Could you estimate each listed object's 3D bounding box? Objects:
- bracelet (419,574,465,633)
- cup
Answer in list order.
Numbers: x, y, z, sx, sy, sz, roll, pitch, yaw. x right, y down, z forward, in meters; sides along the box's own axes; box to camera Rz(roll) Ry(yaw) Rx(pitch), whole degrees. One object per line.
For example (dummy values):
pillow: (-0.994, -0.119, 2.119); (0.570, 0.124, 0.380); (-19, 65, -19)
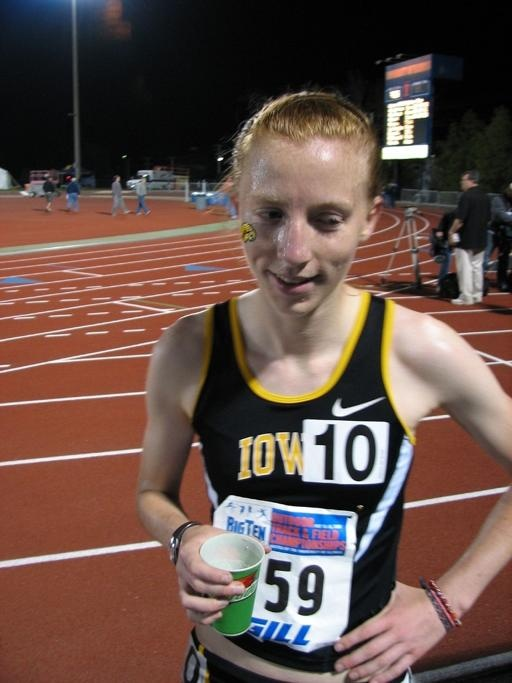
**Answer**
bracelet: (0.353, 0.505, 1.097); (0.031, 0.102, 0.089); (-33, -6, 6)
cup: (-0.047, 0.438, 0.987); (0.113, 0.197, 0.078); (8, 15, 32)
